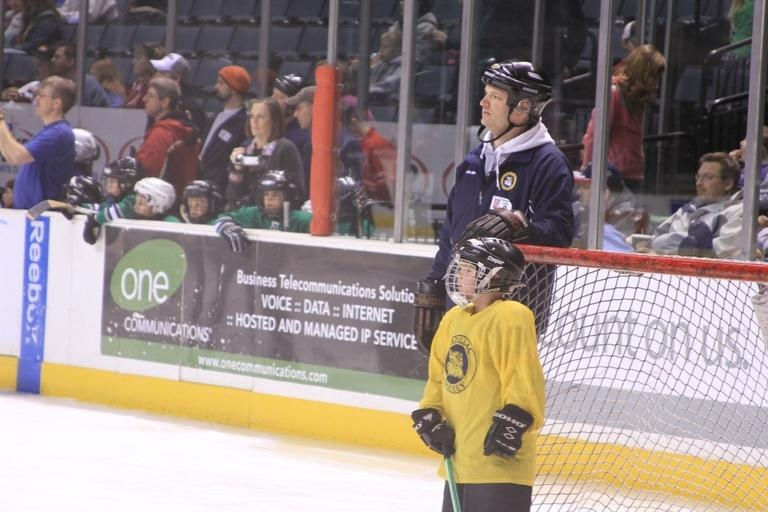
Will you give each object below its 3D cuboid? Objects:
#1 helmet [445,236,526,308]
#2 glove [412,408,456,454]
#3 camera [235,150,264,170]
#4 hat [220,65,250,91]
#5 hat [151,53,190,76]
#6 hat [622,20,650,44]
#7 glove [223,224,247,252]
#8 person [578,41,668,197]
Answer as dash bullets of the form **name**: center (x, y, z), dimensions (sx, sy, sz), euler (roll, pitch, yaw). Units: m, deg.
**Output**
- **helmet**: center (0.713, 0.059, 11.651), dimensions (0.543, 0.551, 0.456), euler (6, 20, -5)
- **glove**: center (0.333, 1.197, 11.481), dimensions (0.228, 0.336, 0.116), euler (-32, -9, 12)
- **camera**: center (-1.191, -0.854, 14.542), dimensions (0.185, 0.122, 0.089), euler (1, -11, 5)
- **hat**: center (-1.306, -1.573, 14.694), dimensions (0.230, 0.138, 0.194), euler (28, 15, 4)
- **hat**: center (-1.900, -1.727, 14.902), dimensions (0.266, 0.148, 0.186), euler (13, 23, -7)
- **hat**: center (1.996, -1.794, 13.372), dimensions (0.125, 0.243, 0.162), euler (5, -2, -38)
- **glove**: center (-1.296, -0.162, 14.398), dimensions (0.167, 0.238, 0.067), euler (-10, -2, 7)
- **person**: center (1.883, -0.813, 13.560), dimensions (0.586, 1.759, 0.486), euler (6, 2, -29)
